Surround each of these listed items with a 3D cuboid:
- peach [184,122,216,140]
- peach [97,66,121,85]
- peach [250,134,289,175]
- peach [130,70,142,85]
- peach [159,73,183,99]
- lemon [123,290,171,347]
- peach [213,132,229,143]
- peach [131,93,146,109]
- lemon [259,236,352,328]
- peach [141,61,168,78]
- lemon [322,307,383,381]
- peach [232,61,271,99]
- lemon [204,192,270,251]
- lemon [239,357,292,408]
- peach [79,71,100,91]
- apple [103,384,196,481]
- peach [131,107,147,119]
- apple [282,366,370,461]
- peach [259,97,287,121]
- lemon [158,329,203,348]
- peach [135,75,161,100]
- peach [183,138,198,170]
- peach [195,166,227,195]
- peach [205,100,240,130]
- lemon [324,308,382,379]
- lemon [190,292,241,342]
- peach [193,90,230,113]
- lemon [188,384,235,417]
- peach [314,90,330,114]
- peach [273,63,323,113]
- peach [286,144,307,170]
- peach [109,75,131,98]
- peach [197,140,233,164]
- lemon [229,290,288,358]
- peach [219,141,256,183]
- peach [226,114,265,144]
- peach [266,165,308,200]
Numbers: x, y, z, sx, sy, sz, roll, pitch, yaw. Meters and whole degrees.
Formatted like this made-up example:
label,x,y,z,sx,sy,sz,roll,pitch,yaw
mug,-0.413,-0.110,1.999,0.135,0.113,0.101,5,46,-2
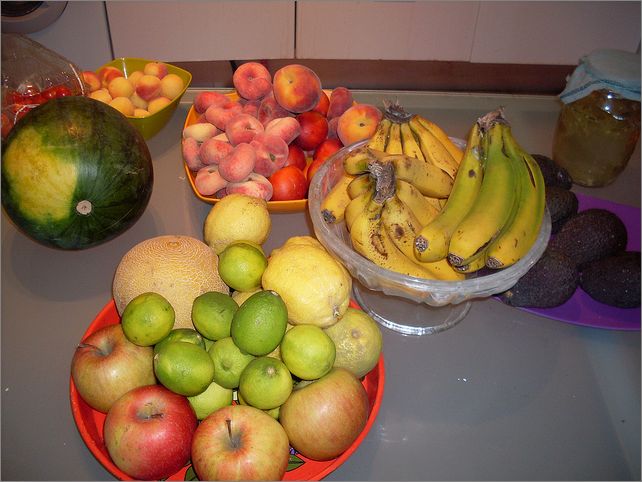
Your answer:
label,x,y,z,sx,sy,sz,roll,pitch,yaw
peach,-0.396,-0.358,1.734,0.072,0.058,0.048,-7,90,-14
peach,-0.759,-0.600,1.895,0.064,0.070,0.074,-11,51,1
peach,-0.160,-0.283,1.698,0.110,0.122,0.143,30,45,34
peach,-0.652,-0.574,1.863,0.045,0.055,0.061,-2,21,-19
peach,-0.525,-0.540,1.899,0.076,0.104,0.082,-1,-1,8
lemon,-0.418,0.191,1.341,0.101,0.133,0.128,8,78,1
peach,-0.326,-0.341,1.731,0.051,0.029,0.030,-18,25,-9
peach,-0.639,-0.489,1.853,0.045,0.052,0.048,-10,5,-7
lemon,-0.035,0.096,1.339,0.165,0.144,0.222,-17,54,-21
peach,-0.590,-0.614,1.884,0.061,0.071,0.067,11,30,-14
lemon,0.087,0.256,1.393,0.147,0.146,0.146,39,82,7
peach,-0.239,-0.555,1.894,0.114,0.127,0.128,19,23,-2
lemon,-0.240,-0.066,1.554,0.190,0.153,0.187,-2,33,-6
lemon,-0.141,0.314,1.297,0.129,0.104,0.168,-3,29,-9
peach,-0.801,-0.570,1.852,0.052,0.070,0.107,-14,48,-15
apple,-0.392,0.447,1.222,0.161,0.121,0.174,-20,38,-31
peach,-0.624,-0.442,1.811,0.040,0.035,0.057,4,20,1
apple,0.010,0.413,1.262,0.203,0.127,0.176,-33,55,-29
peach,-0.167,-0.439,1.800,0.077,0.048,0.075,-3,3,-32
lemon,-0.334,0.235,1.300,0.065,0.055,0.060,8,78,5
peach,-0.595,-0.528,1.826,0.073,0.083,0.076,-8,16,-27
peach,-0.417,-0.283,1.703,0.045,0.063,0.093,-3,76,-19
peach,-0.350,-0.186,1.699,0.082,0.088,0.091,-17,81,2
peach,-0.331,-0.431,1.778,0.099,0.056,0.097,-13,40,-43
lemon,0.088,0.259,1.392,0.148,0.145,0.143,44,82,10
lemon,-0.265,0.186,1.355,0.115,0.095,0.098,30,54,-10
peach,-0.389,-0.474,1.851,0.079,0.056,0.090,-3,13,-4
lemon,-0.268,0.386,1.281,0.089,0.085,0.075,-4,1,-35
peach,0.007,-0.476,1.845,0.063,0.069,0.090,-1,88,5
peach,-0.082,-0.503,1.778,0.159,0.134,0.124,-1,44,-2
peach,-0.084,-0.276,1.799,0.066,0.071,0.091,7,78,-17
peach,-0.690,-0.527,1.819,0.066,0.076,0.071,-1,12,-9
peach,-0.335,-0.283,1.674,0.077,0.085,0.081,6,17,30
lemon,-0.144,0.200,1.319,0.153,0.112,0.113,-52,44,7
peach,-0.257,-0.234,1.635,0.120,0.091,0.094,-10,46,-11
peach,-0.242,-0.364,1.706,0.100,0.058,0.102,29,54,3
peach,-0.103,-0.176,1.651,0.096,0.110,0.105,-9,32,1
